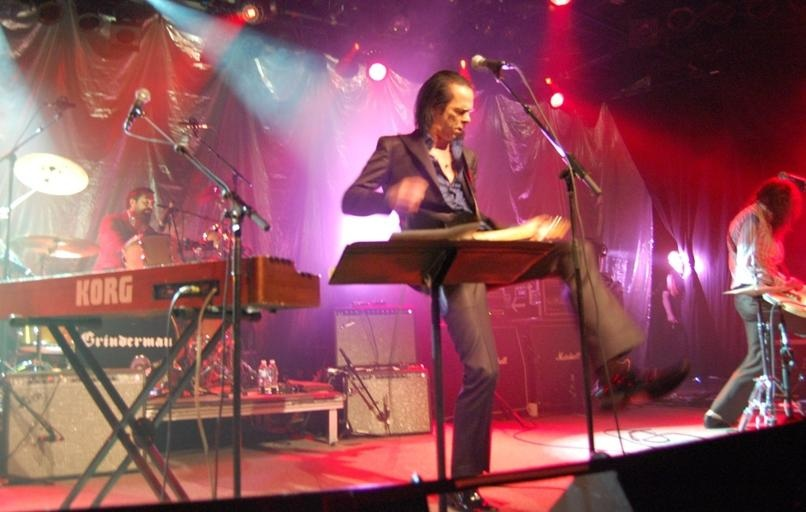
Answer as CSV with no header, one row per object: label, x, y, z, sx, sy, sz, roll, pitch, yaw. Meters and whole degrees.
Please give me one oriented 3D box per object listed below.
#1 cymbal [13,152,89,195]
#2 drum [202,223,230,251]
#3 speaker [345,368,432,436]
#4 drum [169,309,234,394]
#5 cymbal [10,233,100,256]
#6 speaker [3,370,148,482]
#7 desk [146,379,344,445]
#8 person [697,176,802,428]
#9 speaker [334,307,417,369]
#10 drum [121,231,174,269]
cymbal,-4.554,-1.052,8.871,0.624,0.174,0.644,28,3,-10
drum,-2.593,-0.265,9.534,0.365,0.469,0.350,-3,-12,-1
speaker,-0.166,1.807,8.833,1.103,0.871,0.648,-2,9,2
drum,-2.409,1.148,8.451,0.671,0.932,0.734,-5,-12,-1
cymbal,-4.430,-0.134,8.784,0.947,0.166,0.527,3,-15,-28
speaker,-3.493,1.800,7.170,1.196,1.109,0.436,1,-8,-16
desk,-1.802,1.951,8.387,2.095,0.784,0.769,1,-13,-21
person,4.361,0.531,8.497,1.354,3.039,0.705,-10,-13,30
speaker,-0.406,1.010,9.018,1.161,0.893,0.662,1,-4,-18
drum,-3.133,-0.067,8.357,0.462,0.369,0.402,-11,-6,20
